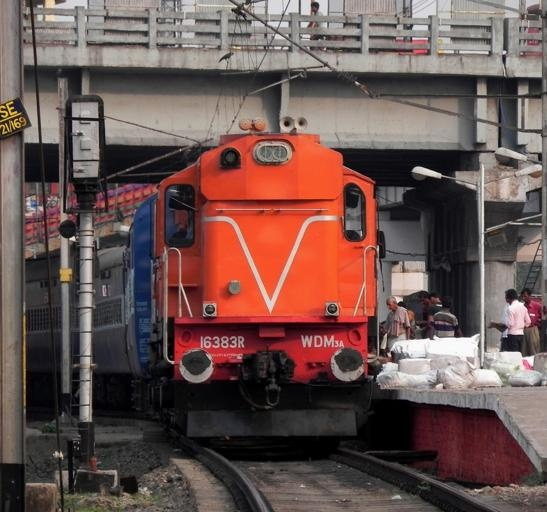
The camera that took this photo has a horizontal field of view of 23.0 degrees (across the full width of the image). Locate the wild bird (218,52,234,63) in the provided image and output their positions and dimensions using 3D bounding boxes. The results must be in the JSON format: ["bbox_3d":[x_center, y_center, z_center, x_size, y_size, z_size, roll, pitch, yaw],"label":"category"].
[{"bbox_3d":[-1.078,-4.610,31.269,0.425,0.141,0.174,-19,-2,6],"label":"wild bird"}]
